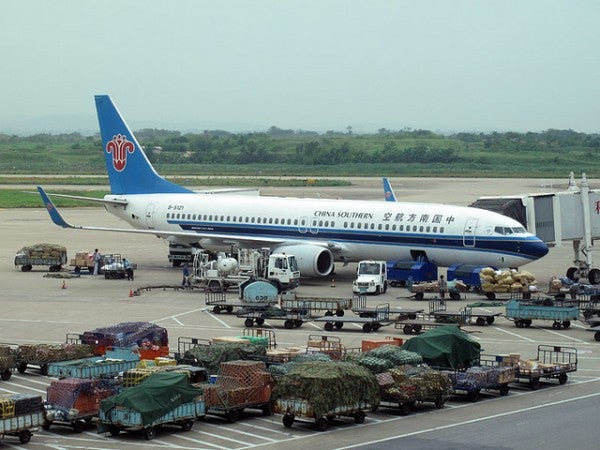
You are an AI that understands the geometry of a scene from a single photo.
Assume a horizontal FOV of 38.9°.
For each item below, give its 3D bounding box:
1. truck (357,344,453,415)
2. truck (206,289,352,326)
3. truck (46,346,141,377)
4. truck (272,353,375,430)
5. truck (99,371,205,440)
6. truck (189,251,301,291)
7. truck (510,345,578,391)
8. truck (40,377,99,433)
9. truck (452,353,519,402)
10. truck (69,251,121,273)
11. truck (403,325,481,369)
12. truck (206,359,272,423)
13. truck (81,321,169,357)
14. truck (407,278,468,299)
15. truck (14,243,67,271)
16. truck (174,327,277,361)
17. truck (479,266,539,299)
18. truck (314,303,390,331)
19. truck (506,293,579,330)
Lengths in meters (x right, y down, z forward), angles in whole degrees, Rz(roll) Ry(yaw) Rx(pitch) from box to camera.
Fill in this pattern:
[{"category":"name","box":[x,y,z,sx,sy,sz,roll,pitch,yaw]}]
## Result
[{"category":"truck","box":[3.963,6.030,34.161,3.002,1.180,3.096,15,13,43]},{"category":"truck","box":[-2.056,4.703,47.651,4.948,1.087,3.287,-1,0,26]},{"category":"truck","box":[-8.464,5.867,36.191,2.696,0.766,4.252,-2,-1,36]},{"category":"truck","box":[0.938,6.414,32.439,2.766,1.633,3.957,-1,-4,36]},{"category":"truck","box":[-5.621,6.606,31.628,2.433,1.486,3.555,2,0,28]},{"category":"truck","box":[-3.770,2.978,56.544,8.375,2.376,2.696,-2,6,32]},{"category":"truck","box":[10.821,6.159,37.090,1.989,1.096,3.086,2,4,43]},{"category":"truck","box":[-8.504,6.724,32.445,2.124,1.383,2.540,1,1,31]},{"category":"truck","box":[7.780,6.367,35.353,1.709,1.021,2.870,3,6,37]},{"category":"truck","box":[-15.538,2.744,64.333,4.311,1.316,1.857,0,3,13]},{"category":"truck","box":[6.113,5.218,37.974,2.983,1.096,3.604,5,-9,-5]},{"category":"truck","box":[-2.618,6.383,33.327,2.435,1.435,2.825,8,6,29]},{"category":"truck","box":[-8.185,5.337,40.113,1.966,0.776,3.122,6,7,40]},{"category":"truck","box":[8.652,3.955,53.288,2.912,0.702,1.508,0,2,-4]},{"category":"truck","box":[-19.697,2.536,65.751,4.822,1.891,1.552,-1,-1,25]},{"category":"truck","box":[-3.613,5.622,39.688,4.211,1.272,2.041,-1,-7,-28]},{"category":"truck","box":[12.924,3.524,53.187,2.952,1.148,2.478,0,3,10]},{"category":"truck","box":[2.908,5.023,45.916,3.126,0.929,1.861,1,1,16]},{"category":"truck","box":[13.480,4.956,45.914,3.580,1.167,1.870,1,-20,44]}]
